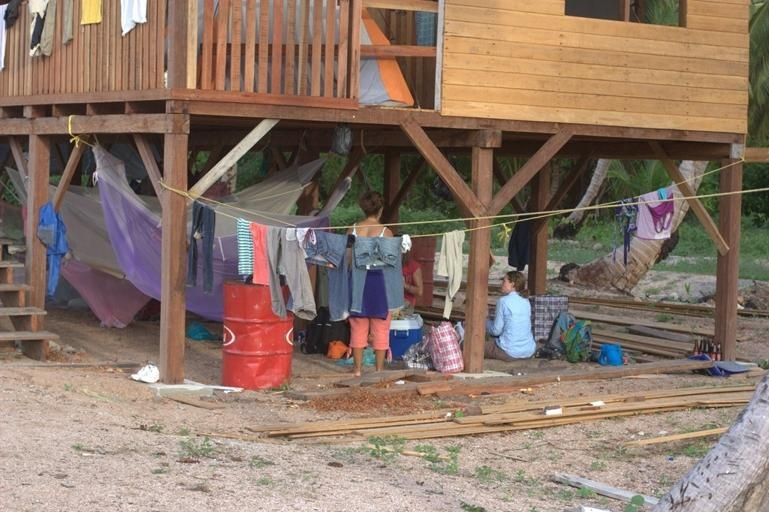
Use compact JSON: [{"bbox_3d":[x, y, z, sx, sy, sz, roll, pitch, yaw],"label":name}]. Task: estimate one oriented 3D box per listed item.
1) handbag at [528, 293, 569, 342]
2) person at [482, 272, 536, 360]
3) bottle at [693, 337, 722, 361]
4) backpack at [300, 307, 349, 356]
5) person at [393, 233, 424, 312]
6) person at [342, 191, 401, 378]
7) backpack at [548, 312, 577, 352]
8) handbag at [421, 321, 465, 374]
[{"bbox_3d":[2.888,0.961,22.074,0.677,0.906,0.550,-2,21,4],"label":"handbag"},{"bbox_3d":[2.061,0.993,20.686,0.797,1.484,0.508,4,10,6],"label":"person"},{"bbox_3d":[5.380,1.555,21.449,0.302,0.437,0.392,-1,6,-19],"label":"bottle"},{"bbox_3d":[-0.955,1.246,21.115,0.809,0.834,0.352,2,3,14],"label":"backpack"},{"bbox_3d":[0.395,0.282,21.113,0.422,0.520,1.337,-13,-27,-6],"label":"person"},{"bbox_3d":[-0.150,0.372,19.514,0.712,2.795,0.716,3,-10,-13],"label":"person"},{"bbox_3d":[2.964,1.245,21.563,0.352,0.730,0.273,18,-8,-17],"label":"backpack"},{"bbox_3d":[0.938,1.473,20.182,0.444,0.823,0.534,-9,-6,-43],"label":"handbag"}]
